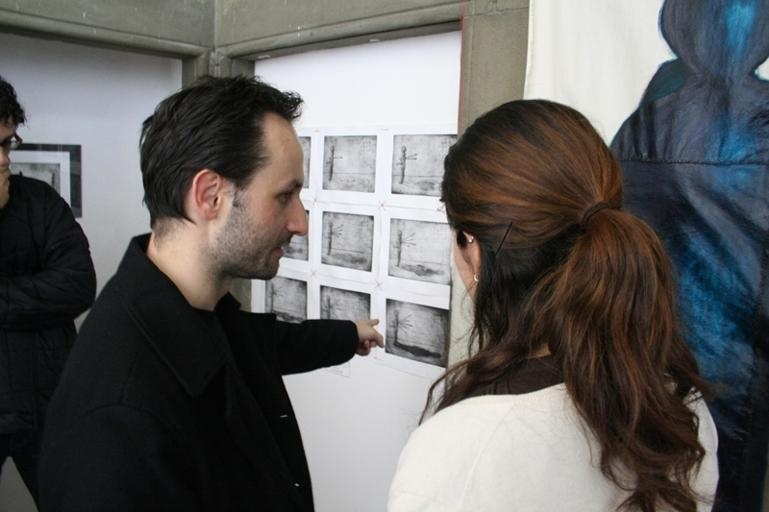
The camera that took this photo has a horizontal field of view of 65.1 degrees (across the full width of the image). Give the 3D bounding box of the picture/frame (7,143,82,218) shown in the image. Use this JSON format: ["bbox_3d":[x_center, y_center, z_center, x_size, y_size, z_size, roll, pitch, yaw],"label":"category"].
[{"bbox_3d":[-1.441,-0.330,2.540,0.363,0.382,0.017,5,19,-2],"label":"picture/frame"}]
